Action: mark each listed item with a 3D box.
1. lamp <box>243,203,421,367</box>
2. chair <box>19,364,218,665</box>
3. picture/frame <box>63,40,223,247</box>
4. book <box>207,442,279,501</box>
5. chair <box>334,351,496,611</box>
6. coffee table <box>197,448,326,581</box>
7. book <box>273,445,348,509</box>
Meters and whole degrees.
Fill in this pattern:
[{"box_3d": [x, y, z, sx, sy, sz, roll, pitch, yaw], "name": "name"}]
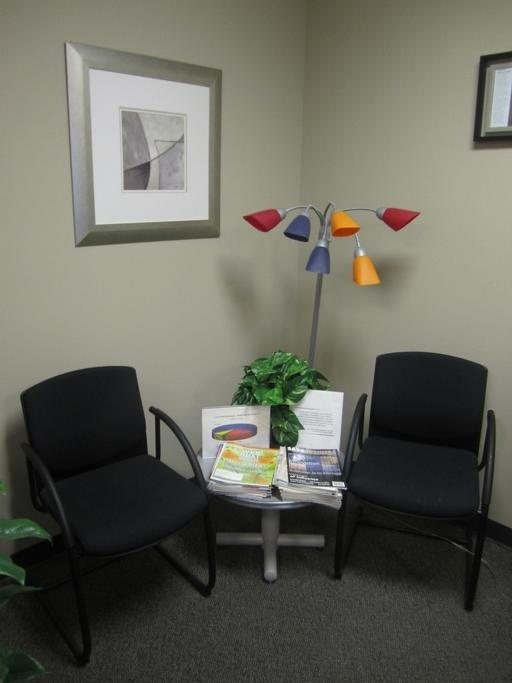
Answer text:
[{"box_3d": [0.345, -0.217, 2.159, 0.611, 0.696, 0.666, 5, 13, 20], "name": "lamp"}, {"box_3d": [-0.444, 0.567, 1.670, 0.566, 0.805, 0.566, 10, 18, 27], "name": "chair"}, {"box_3d": [-0.425, -0.740, 1.866, 0.050, 0.755, 0.689, 20, 26, 38], "name": "picture/frame"}, {"box_3d": [-0.037, 0.457, 1.825, 0.157, 0.042, 0.173, 8, 31, 5], "name": "book"}, {"box_3d": [0.628, 0.465, 1.959, 0.585, 0.775, 0.728, 4, 13, 15], "name": "chair"}, {"box_3d": [0.012, 0.681, 1.947, 0.416, 0.300, 0.439, 12, 21, 29], "name": "coffee table"}, {"box_3d": [0.191, 0.477, 1.835, 0.237, 0.090, 0.277, 3, 13, 8], "name": "book"}]
